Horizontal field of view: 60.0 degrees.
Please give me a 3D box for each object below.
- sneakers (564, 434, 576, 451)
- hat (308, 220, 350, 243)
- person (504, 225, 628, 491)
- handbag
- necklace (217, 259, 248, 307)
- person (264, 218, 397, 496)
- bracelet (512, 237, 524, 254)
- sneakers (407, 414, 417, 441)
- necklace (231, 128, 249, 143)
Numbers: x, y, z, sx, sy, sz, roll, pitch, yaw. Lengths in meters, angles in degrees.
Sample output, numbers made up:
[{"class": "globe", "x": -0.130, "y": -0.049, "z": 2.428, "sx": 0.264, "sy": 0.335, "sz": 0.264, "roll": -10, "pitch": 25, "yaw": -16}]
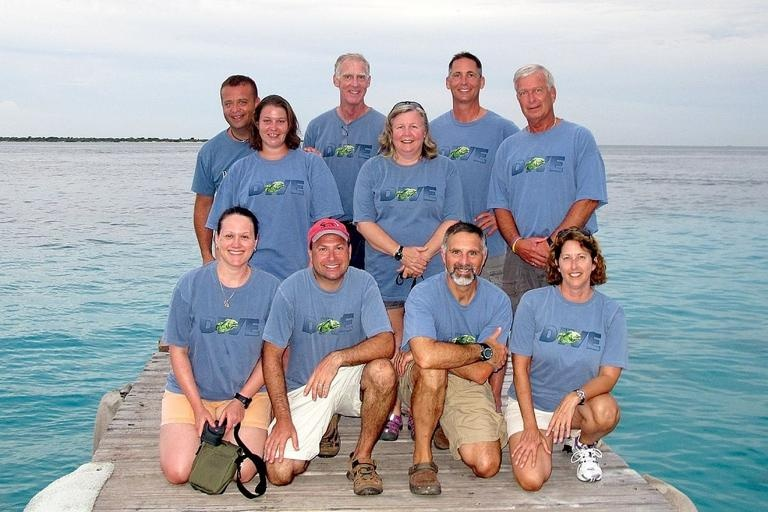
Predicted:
[{"class": "sneakers", "x": 2.195, "y": 2.255, "z": 7.945, "sx": 0.124, "sy": 0.126, "sz": 0.334, "roll": 3, "pitch": 9, "yaw": 16}, {"class": "hat", "x": -0.654, "y": -0.277, "z": 7.688, "sx": 0.438, "sy": 0.278, "sz": 0.331, "roll": -1, "pitch": 10, "yaw": -2}, {"class": "person", "x": 2.070, "y": 1.152, "z": 7.518, "sx": 1.309, "sy": 2.827, "sz": 1.066, "roll": 2, "pitch": 12, "yaw": 11}, {"class": "handbag", "x": -1.802, "y": 2.259, "z": 7.273, "sx": 0.786, "sy": 0.231, "sz": 0.757, "roll": 10, "pitch": 51, "yaw": 3}, {"class": "necklace", "x": -1.777, "y": 0.331, "z": 7.697, "sx": 0.478, "sy": 0.508, "sz": 0.143, "roll": 7, "pitch": -7, "yaw": -2}, {"class": "person", "x": -0.638, "y": 1.074, "z": 7.564, "sx": 1.507, "sy": 2.911, "sz": 0.971, "roll": -1, "pitch": 11, "yaw": 0}, {"class": "bracelet", "x": 1.754, "y": -0.135, "z": 8.696, "sx": 0.077, "sy": 0.168, "sz": 0.167, "roll": 27, "pitch": -34, "yaw": -29}, {"class": "sneakers", "x": 0.378, "y": 2.127, "z": 8.158, "sx": 0.141, "sy": 0.155, "sz": 0.373, "roll": -3, "pitch": 15, "yaw": -6}, {"class": "necklace", "x": -2.015, "y": -1.698, "z": 9.301, "sx": 0.208, "sy": 0.233, "sz": 0.092, "roll": -1, "pitch": 41, "yaw": 0}]
